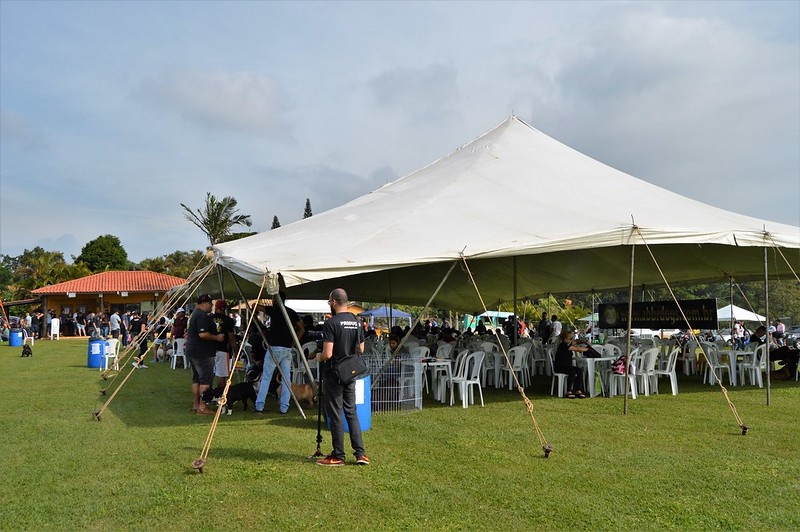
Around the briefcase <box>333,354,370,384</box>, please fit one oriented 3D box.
[{"bbox_3d":[-0.689,1.468,9.012,0.510,0.406,0.129,-3,6,-27],"label":"briefcase"}]

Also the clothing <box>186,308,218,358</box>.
[{"bbox_3d":[-3.725,1.274,11.877,0.567,0.916,0.320,0,6,-6],"label":"clothing"}]

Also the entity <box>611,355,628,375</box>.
[{"bbox_3d":[4.749,2.175,13.784,0.273,0.399,0.400,-10,-41,18],"label":"entity"}]

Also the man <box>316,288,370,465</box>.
[{"bbox_3d":[-0.877,1.622,9.316,0.866,2.501,0.875,2,-5,-25],"label":"man"}]

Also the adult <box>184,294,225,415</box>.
[{"bbox_3d":[-3.729,1.699,12.227,0.843,2.259,0.884,0,-4,-38],"label":"adult"}]
